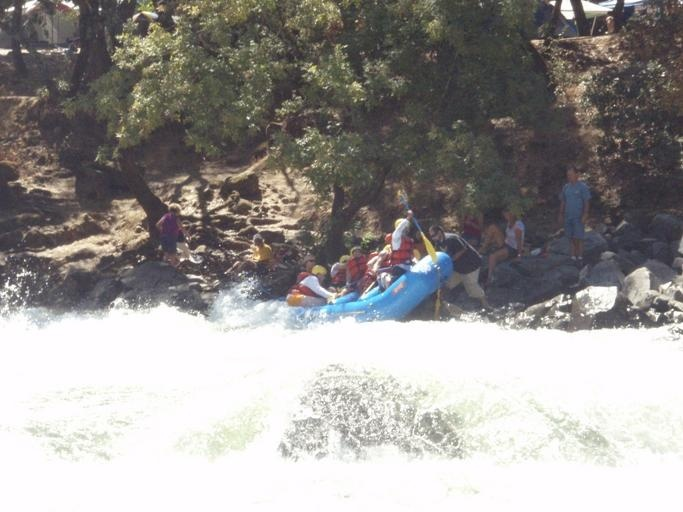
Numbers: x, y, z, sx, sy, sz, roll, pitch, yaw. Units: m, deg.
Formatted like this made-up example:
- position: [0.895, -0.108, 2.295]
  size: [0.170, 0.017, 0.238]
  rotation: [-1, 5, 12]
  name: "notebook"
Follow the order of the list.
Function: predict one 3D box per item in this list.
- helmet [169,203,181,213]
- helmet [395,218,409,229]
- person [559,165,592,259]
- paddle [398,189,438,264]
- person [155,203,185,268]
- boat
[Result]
- position: [-4.715, -1.361, 28.111]
  size: [0.300, 0.208, 0.270]
  rotation: [4, -1, 39]
  name: "helmet"
- position: [1.502, -0.851, 25.041]
  size: [0.230, 0.298, 0.315]
  rotation: [-16, 32, -21]
  name: "helmet"
- position: [5.896, -1.060, 25.116]
  size: [0.819, 2.291, 0.540]
  rotation: [-1, 5, 35]
  name: "person"
- position: [2.090, -0.768, 26.806]
  size: [0.258, 2.435, 0.190]
  rotation: [-31, 2, -13]
  name: "paddle"
- position: [-4.786, -0.598, 28.069]
  size: [0.695, 1.688, 0.405]
  rotation: [-5, 4, -11]
  name: "person"
- position: [0.806, 0.715, 24.742]
  size: [3.408, 0.911, 1.793]
  rotation: [-29, -8, 16]
  name: "boat"
